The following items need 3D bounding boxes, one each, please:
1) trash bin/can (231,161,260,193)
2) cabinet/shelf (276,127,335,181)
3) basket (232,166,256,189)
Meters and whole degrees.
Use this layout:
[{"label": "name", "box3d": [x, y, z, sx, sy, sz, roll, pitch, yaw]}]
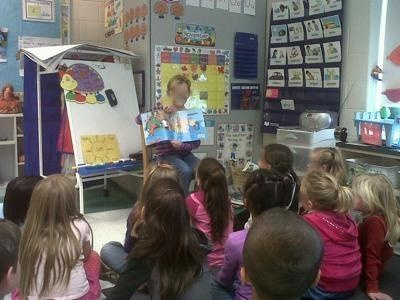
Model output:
[{"label": "trash bin/can", "box3d": [0.556, 0.310, 3.837, 0.280, 0.276, 0.412, 0, 1, -9]}, {"label": "cabinet/shelf", "box3d": [1.202, -0.045, 3.695, 0.531, 0.679, 0.659, -3, 8, -29]}, {"label": "basket", "box3d": [0.513, 0.341, 3.771, 0.310, 0.273, 0.355, -1, 5, -9]}]
